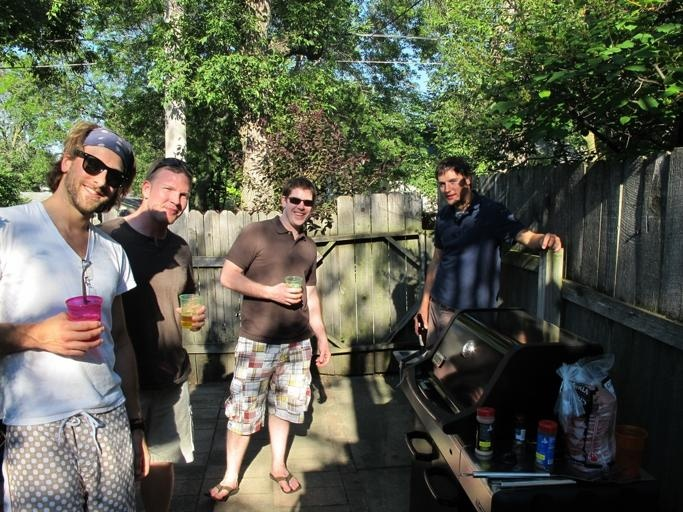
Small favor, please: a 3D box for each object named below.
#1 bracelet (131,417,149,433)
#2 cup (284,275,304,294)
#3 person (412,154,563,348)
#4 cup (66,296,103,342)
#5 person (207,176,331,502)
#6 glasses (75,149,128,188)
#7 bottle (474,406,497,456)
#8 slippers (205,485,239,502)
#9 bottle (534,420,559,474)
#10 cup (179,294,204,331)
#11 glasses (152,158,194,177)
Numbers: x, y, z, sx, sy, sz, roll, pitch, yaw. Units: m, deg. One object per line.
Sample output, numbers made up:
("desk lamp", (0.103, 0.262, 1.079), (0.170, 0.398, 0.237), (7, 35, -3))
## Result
("bracelet", (-1.146, 0.935, 3.215), (0.064, 0.042, 0.086), (2, 0, -6))
("cup", (-0.361, 0.204, 4.389), (0.106, 0.090, 0.120), (1, 0, 2))
("person", (1.123, 0.043, 4.983), (0.481, 1.763, 1.319), (-5, 11, -25))
("cup", (-1.206, 0.267, 2.692), (0.132, 0.132, 0.131), (3, 6, 0))
("person", (-0.577, 0.614, 4.568), (0.618, 2.432, 1.001), (7, 12, 33))
("glasses", (-1.209, -0.437, 2.875), (0.182, 0.062, 0.186), (20, -8, 46))
("bottle", (0.713, 0.864, 2.868), (0.084, 0.226, 0.141), (2, 10, 12))
("slippers", (-0.920, 1.815, 4.482), (0.240, 0.098, 0.129), (-3, 11, -16))
("bottle", (1.021, 0.899, 2.860), (0.095, 0.217, 0.240), (4, 11, 22))
("cup", (-1.017, 0.362, 3.865), (0.137, 0.237, 0.148), (0, 10, 0))
("glasses", (-1.182, -0.586, 3.955), (0.177, 0.099, 0.152), (3, 7, 38))
